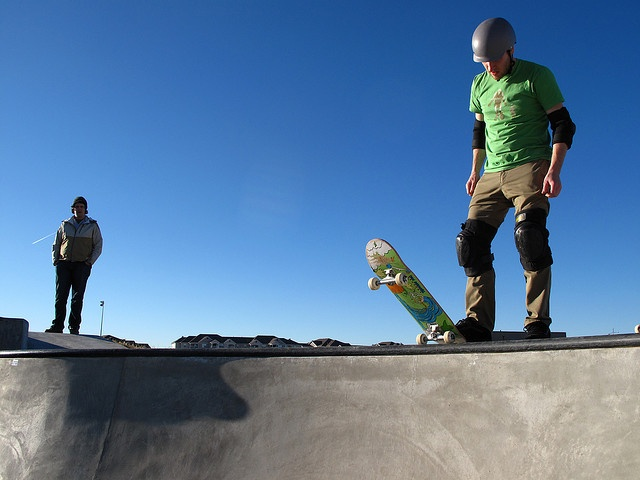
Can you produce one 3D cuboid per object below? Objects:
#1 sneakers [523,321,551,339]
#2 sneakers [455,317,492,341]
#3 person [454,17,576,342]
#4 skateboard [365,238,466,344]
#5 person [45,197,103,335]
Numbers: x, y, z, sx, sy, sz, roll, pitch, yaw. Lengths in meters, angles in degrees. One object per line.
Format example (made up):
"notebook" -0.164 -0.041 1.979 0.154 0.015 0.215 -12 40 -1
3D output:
"sneakers" 1.589 0.664 4.090 0.166 0.147 0.336 -7 -15 21
"sneakers" 1.264 0.741 4.561 0.243 0.205 0.222 8 -16 -33
"person" 1.486 -0.477 4.517 0.594 2.546 1.017 7 -14 -32
"skateboard" 0.808 0.463 4.540 0.145 0.948 0.216 -30 2 -43
"person" -3.383 0.349 7.776 0.609 1.942 0.356 5 -13 -28
